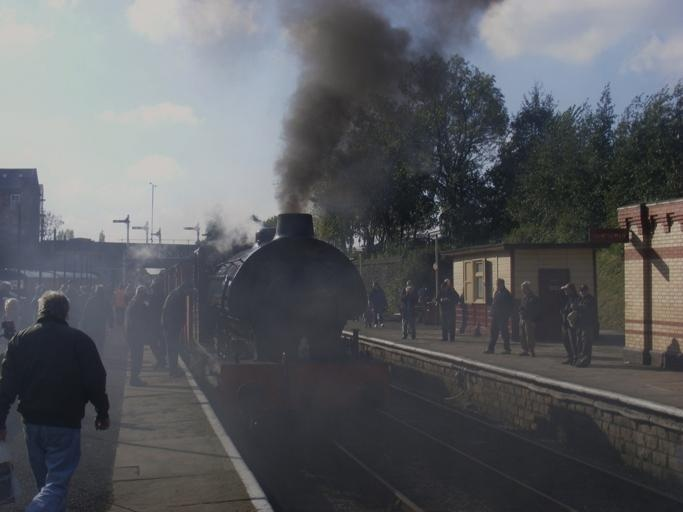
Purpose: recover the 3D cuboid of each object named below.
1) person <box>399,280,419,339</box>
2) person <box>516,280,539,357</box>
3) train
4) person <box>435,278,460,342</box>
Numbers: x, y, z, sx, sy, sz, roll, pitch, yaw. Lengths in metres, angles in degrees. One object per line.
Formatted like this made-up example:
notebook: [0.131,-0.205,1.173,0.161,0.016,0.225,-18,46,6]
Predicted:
person: [2.074,1.676,21.145,0.480,1.734,2.038,2,2,5]
person: [4.439,1.489,16.198,0.428,1.740,0.910,3,3,15]
train: [-0.856,1.301,11.918,1.685,2.473,5.392,0,-6,-11]
person: [3.087,1.579,19.855,0.518,1.810,1.346,3,3,8]
